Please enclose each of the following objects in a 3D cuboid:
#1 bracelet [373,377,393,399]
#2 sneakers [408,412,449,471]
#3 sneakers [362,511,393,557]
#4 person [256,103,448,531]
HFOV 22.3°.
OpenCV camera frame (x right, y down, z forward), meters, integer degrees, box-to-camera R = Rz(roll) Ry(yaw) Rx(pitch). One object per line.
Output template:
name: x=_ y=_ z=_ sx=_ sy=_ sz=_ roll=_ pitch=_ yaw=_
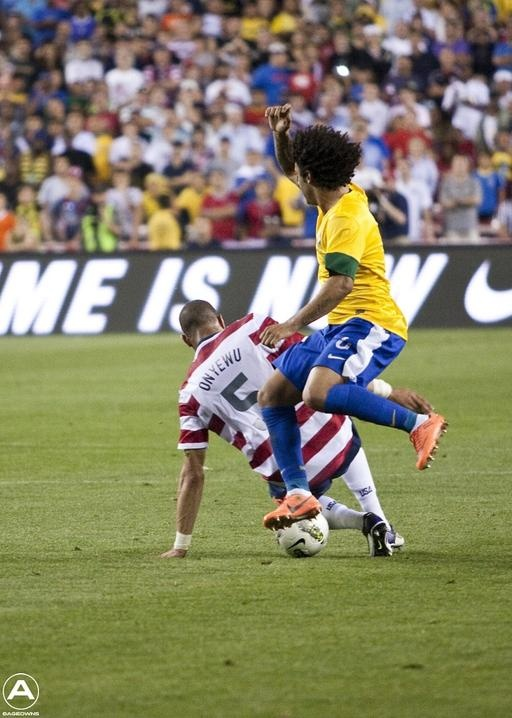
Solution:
bracelet: x=0.487 y=0.111 z=5.077 sx=0.056 sy=0.037 sz=0.083 roll=-34 pitch=55 yaw=-28
sneakers: x=0.596 y=0.279 z=4.586 sx=0.141 sy=0.088 sz=0.233 roll=17 pitch=67 yaw=10
sneakers: x=0.416 y=0.618 z=4.546 sx=0.069 sy=0.165 sz=0.074 roll=-11 pitch=44 yaw=9
person: x=0.311 y=-0.196 z=4.668 sx=0.651 sy=1.202 sz=1.340 roll=-3 pitch=26 yaw=0
